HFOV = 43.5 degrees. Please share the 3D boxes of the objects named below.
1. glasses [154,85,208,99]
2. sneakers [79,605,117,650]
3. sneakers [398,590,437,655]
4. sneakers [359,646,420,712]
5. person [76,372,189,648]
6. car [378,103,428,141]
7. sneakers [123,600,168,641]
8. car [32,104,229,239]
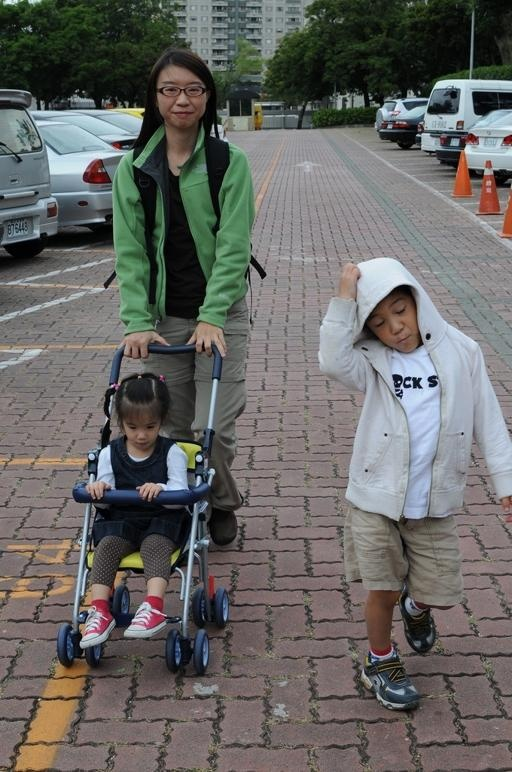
[{"bbox_3d":[-0.266,-1.047,2.299,0.165,0.056,0.051,-1,4,-10],"label":"glasses"},{"bbox_3d":[-0.478,0.715,1.910,0.061,0.071,0.169,-22,-7,0],"label":"sneakers"},{"bbox_3d":[0.539,0.817,2.186,0.087,0.263,0.111,-10,17,13],"label":"sneakers"},{"bbox_3d":[0.381,0.848,1.884,0.083,0.108,0.214,1,4,-18],"label":"sneakers"},{"bbox_3d":[-0.371,0.406,1.982,0.327,0.866,0.468,-1,4,-7],"label":"person"},{"bbox_3d":[6.709,-11.748,29.266,2.692,0.889,1.218,-29,37,-36],"label":"car"},{"bbox_3d":[-0.313,0.667,1.808,0.061,0.077,0.171,-5,-11,10],"label":"sneakers"},{"bbox_3d":[-3.415,-4.420,13.774,2.654,2.099,6.233,-7,21,-19],"label":"car"}]
